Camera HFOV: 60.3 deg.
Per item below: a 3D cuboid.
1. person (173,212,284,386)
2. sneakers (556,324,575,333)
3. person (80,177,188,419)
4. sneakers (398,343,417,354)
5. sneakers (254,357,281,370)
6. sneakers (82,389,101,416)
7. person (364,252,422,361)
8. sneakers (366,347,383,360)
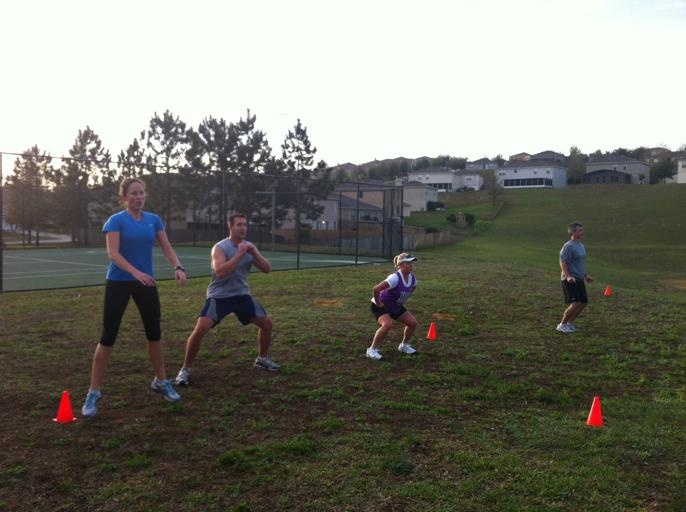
[{"bbox_3d":[-1.465,0.551,7.761,1.291,2.185,0.439,-4,10,-36],"label":"person"},{"bbox_3d":[4.027,1.313,10.724,0.344,0.161,0.128,2,4,6],"label":"sneakers"},{"bbox_3d":[-2.478,0.411,7.100,1.132,2.656,1.124,0,8,-14],"label":"person"},{"bbox_3d":[0.999,1.437,9.155,0.323,0.157,0.116,4,2,11],"label":"sneakers"},{"bbox_3d":[-1.034,1.491,8.224,0.372,0.175,0.151,3,3,6],"label":"sneakers"},{"bbox_3d":[-2.872,1.663,6.767,0.197,0.260,0.324,-2,9,-24],"label":"sneakers"},{"bbox_3d":[0.794,0.714,9.110,0.766,1.611,1.032,3,8,7],"label":"person"},{"bbox_3d":[0.463,1.471,8.879,0.295,0.140,0.107,1,3,43],"label":"sneakers"}]
